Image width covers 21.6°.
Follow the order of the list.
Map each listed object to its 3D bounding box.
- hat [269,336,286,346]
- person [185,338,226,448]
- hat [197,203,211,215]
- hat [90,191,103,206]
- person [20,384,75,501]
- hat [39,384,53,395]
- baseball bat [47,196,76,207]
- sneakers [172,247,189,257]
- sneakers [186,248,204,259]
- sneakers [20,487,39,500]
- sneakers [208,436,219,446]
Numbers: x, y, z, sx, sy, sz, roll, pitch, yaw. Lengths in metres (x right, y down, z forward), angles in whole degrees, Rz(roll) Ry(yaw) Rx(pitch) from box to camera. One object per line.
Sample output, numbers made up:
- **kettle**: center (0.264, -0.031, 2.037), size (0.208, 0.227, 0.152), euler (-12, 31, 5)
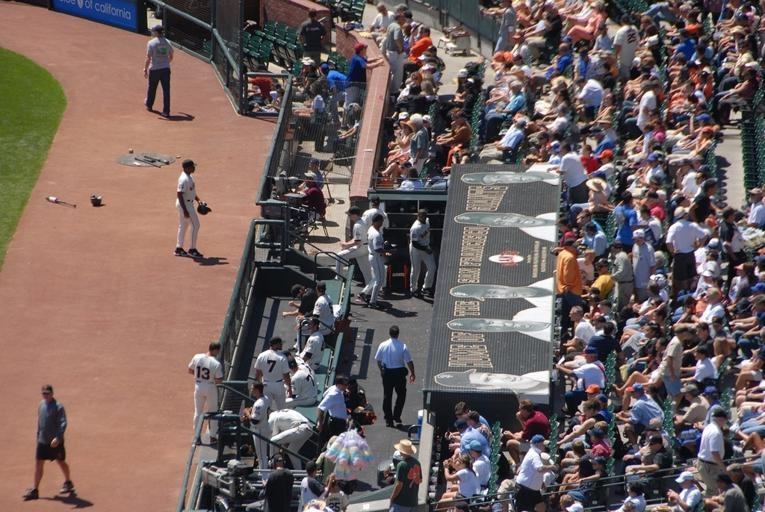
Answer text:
- **hat**: center (-2.369, 1.856, 44.510), size (0.217, 0.188, 0.217), euler (7, 6, 9)
- **person**: center (-3.933, 2.939, 44.364), size (0.780, 2.218, 1.190), euler (7, 7, -6)
- **hat**: center (-4.388, -1.194, 49.240), size (0.279, 0.161, 0.261), euler (25, -9, 20)
- **hat**: center (-7.260, -1.452, 51.079), size (0.314, 0.226, 0.316), euler (-1, -2, -2)
- **person**: center (-7.129, 3.988, 43.536), size (1.015, 2.570, 1.052), euler (6, 7, -7)
- **hat**: center (-7.187, 2.832, 43.141), size (0.275, 0.266, 0.292), euler (-1, 0, -5)
- **baseball bat**: center (-8.184, -1.421, 51.124), size (0.675, 0.153, 0.108), euler (12, -26, 2)
- **sneakers**: center (-4.939, -0.136, 49.486), size (0.433, 0.154, 0.168), euler (-6, 18, -21)
- **sneakers**: center (-4.615, -0.115, 49.518), size (0.415, 0.146, 0.199), euler (5, 18, -2)
- **sneakers**: center (-7.576, 5.131, 43.389), size (0.473, 0.253, 0.141), euler (4, 13, -5)
- **sneakers**: center (-3.714, 4.026, 44.053), size (0.242, 0.181, 0.133), euler (7, 7, 15)
